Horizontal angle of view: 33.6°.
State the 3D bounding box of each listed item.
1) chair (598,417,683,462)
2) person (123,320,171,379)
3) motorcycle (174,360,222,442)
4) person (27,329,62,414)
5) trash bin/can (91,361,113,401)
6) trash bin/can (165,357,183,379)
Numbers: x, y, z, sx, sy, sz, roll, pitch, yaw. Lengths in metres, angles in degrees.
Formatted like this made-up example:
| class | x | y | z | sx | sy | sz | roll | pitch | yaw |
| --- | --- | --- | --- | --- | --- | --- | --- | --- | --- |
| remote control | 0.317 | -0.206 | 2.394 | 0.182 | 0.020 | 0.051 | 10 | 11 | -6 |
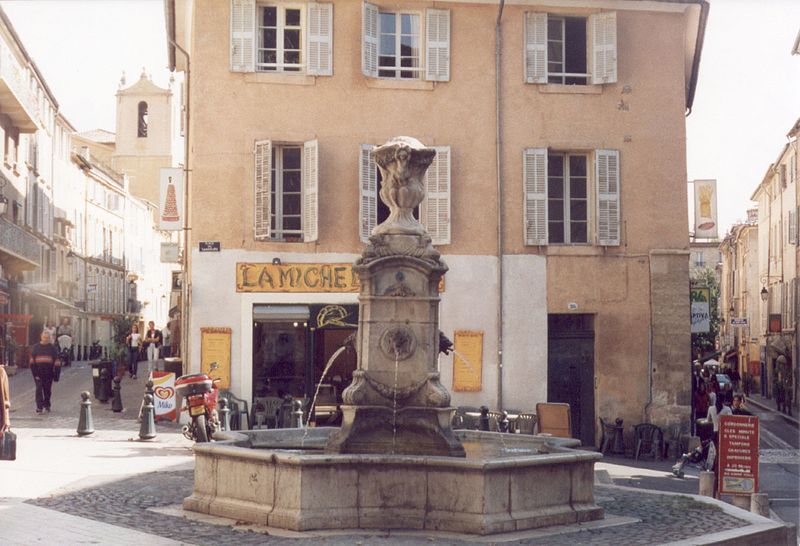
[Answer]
| class | x | y | z | sx | sy | sz | roll | pitch | yaw |
| --- | --- | --- | --- | --- | --- | --- | --- | --- | --- |
| chair | 6.845 | 4.697 | 37.478 | 2.449 | 1.160 | 1.179 | -1 | -6 | 9 |
| person | -9.910 | 3.006 | 51.651 | 1.043 | 2.056 | 1.264 | -2 | 13 | 11 |
| motorcycle | -4.819 | 3.214 | 31.547 | 0.919 | 1.609 | 0.915 | 0 | -6 | 0 |
| person | -10.217 | 2.855 | 38.109 | 0.846 | 2.432 | 0.770 | -4 | 9 | -40 |
| trash bin/can | -9.279 | 3.369 | 41.289 | 0.598 | 1.357 | 2.329 | 1 | -6 | -12 |
| trash bin/can | -7.027 | 2.846 | 39.587 | 0.591 | 0.609 | 1.105 | 1 | 2 | -4 |
